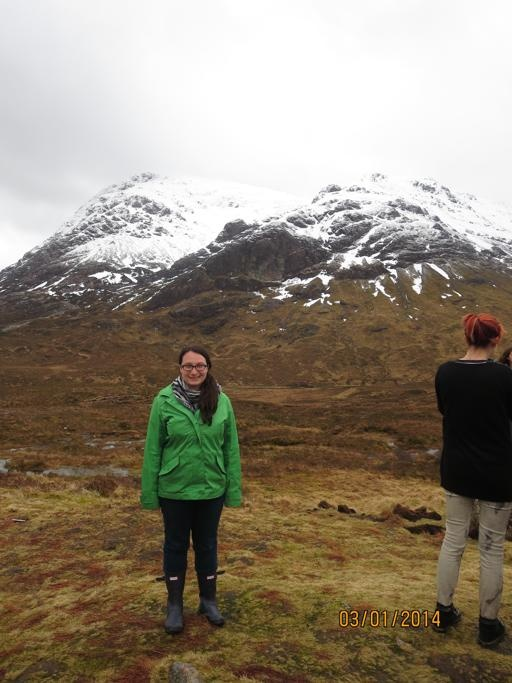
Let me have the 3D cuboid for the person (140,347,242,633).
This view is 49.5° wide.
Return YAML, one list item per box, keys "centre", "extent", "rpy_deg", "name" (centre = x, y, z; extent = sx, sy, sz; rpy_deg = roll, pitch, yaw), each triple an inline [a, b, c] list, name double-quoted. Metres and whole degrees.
- centre: [-0.631, 1.417, 5.420]
  extent: [0.956, 2.719, 0.568]
  rpy_deg: [3, 4, -12]
  name: "person"

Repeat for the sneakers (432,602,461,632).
- centre: [1.842, 2.670, 5.452]
  extent: [0.153, 0.216, 0.399]
  rpy_deg: [-2, -3, 41]
  name: "sneakers"

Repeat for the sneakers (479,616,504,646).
- centre: [2.161, 2.692, 5.128]
  extent: [0.149, 0.205, 0.377]
  rpy_deg: [-6, -5, 39]
  name: "sneakers"
